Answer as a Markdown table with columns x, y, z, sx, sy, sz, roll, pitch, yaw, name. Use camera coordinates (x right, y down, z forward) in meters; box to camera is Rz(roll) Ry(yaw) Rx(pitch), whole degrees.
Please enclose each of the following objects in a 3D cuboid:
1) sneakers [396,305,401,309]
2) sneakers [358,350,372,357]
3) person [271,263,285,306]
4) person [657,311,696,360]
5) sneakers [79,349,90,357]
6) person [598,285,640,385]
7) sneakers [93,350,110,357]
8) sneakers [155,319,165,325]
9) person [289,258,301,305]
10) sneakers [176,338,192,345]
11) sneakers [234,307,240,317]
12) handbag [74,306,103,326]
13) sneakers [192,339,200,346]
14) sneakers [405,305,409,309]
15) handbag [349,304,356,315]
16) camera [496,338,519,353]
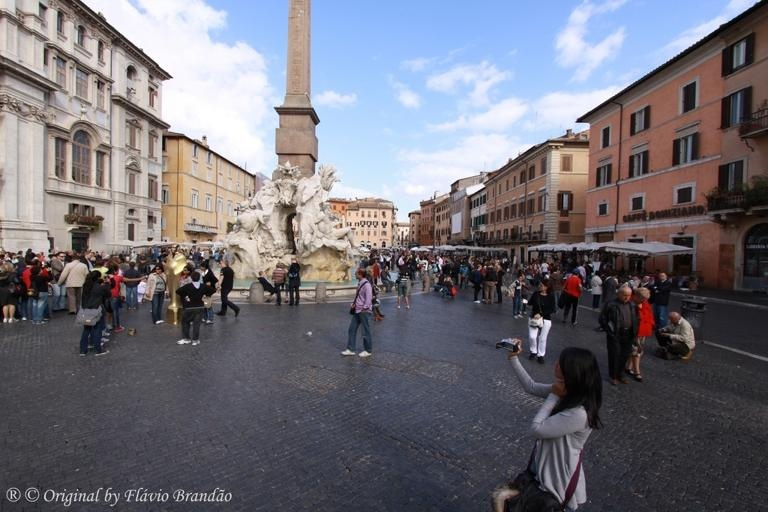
| x | y | z | sx | sy | sz | roll | pitch | yaw | name |
| --- | --- | --- | --- | --- | --- | --- | --- | --- | --- |
| 0.596 | 2.026 | 20.671 | 0.121 | 0.188 | 0.089 | 5 | 6 | 21 | sneakers |
| -0.488 | 2.603 | 13.882 | 0.248 | 0.105 | 0.128 | 9 | -13 | -32 | sneakers |
| -4.117 | 1.063 | 20.990 | 0.475 | 1.562 | 1.912 | 0 | 6 | -10 | person |
| 7.976 | 2.161 | 14.300 | 0.909 | 1.175 | 0.912 | -5 | 11 | 5 | person |
| -7.746 | 2.516 | 13.558 | 0.098 | 0.201 | 0.289 | 5 | 6 | 9 | sneakers |
| 5.703 | 1.881 | 12.763 | 0.886 | 2.361 | 0.508 | 0 | 7 | -13 | person |
| -7.337 | 2.542 | 13.720 | 0.101 | 0.121 | 0.306 | 23 | 20 | 40 | sneakers |
| -7.186 | 2.134 | 16.918 | 0.079 | 0.092 | 0.217 | 4 | 9 | 20 | sneakers |
| -3.465 | 1.062 | 20.276 | 0.407 | 1.693 | 0.786 | 0 | 7 | -13 | person |
| -5.567 | 2.388 | 14.629 | 0.413 | 0.177 | 0.164 | 0 | -4 | 24 | sneakers |
| -5.048 | 1.969 | 17.926 | 0.113 | 0.329 | 0.232 | 20 | -6 | -13 | sneakers |
| -7.509 | 1.556 | 13.480 | 0.723 | 0.687 | 0.391 | 0 | -2 | -14 | handbag |
| -5.216 | 2.389 | 14.598 | 0.208 | 0.111 | 0.334 | -1 | 7 | -22 | sneakers |
| 0.926 | 2.041 | 20.742 | 0.106 | 0.143 | 0.315 | 1 | 5 | 6 | sneakers |
| -0.798 | 1.417 | 13.825 | 0.113 | 0.275 | 0.221 | 7 | 9 | 41 | handbag |
| 2.039 | 1.461 | 8.586 | 0.284 | 0.183 | 0.288 | 4 | -2 | 26 | camera |
